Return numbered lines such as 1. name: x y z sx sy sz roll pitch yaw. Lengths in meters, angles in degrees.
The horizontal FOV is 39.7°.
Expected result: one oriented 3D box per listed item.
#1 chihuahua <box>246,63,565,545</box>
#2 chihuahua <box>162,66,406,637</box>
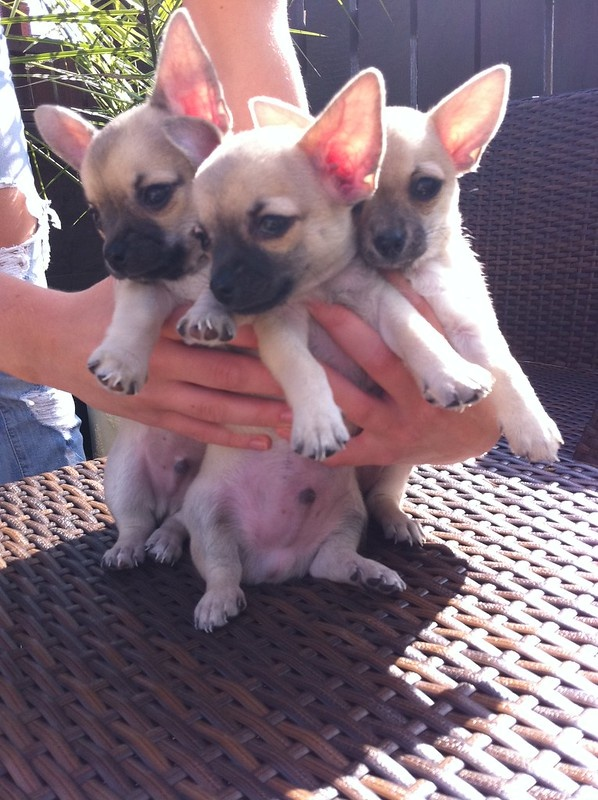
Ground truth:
1. chihuahua: 0.101 -0.283 1.708 0.420 0.606 0.933 -3 12 -5
2. chihuahua: -0.051 -0.027 1.263 0.410 0.830 0.529 -2 45 6
